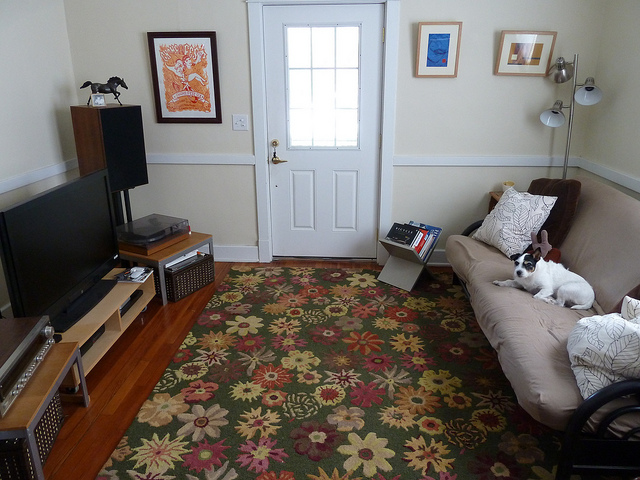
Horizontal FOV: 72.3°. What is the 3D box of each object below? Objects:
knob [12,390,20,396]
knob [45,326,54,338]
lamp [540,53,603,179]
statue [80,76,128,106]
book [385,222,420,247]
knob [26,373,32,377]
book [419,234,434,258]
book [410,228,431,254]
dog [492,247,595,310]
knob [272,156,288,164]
[{"bbox_3d":[-1.512,0.758,2.178,0.024,0.008,0.018,-1,3,9],"label":"knob"},{"bbox_3d":[-1.528,0.526,2.486,0.033,0.043,0.043,2,29,-9],"label":"knob"},{"bbox_3d":[2.184,-1.073,3.873,0.459,1.034,0.430,14,27,26],"label":"lamp"},{"bbox_3d":[-1.896,-1.310,3.844,0.329,0.206,0.297,-10,26,-26],"label":"statue"},{"bbox_3d":[0.741,-0.054,3.975,0.275,0.191,0.064,20,-14,42],"label":"book"},{"bbox_3d":[-1.511,0.701,2.278,0.018,0.005,0.018,5,13,-1],"label":"knob"},{"bbox_3d":[0.952,0.045,3.936,0.041,0.227,0.040,33,-4,-6],"label":"book"},{"bbox_3d":[0.903,0.001,3.919,0.052,0.216,0.155,31,-13,-11],"label":"book"},{"bbox_3d":[1.581,0.282,3.015,0.576,0.279,0.413,16,6,0],"label":"dog"},{"bbox_3d":[-0.403,-0.759,4.220,0.106,0.052,0.054,3,16,-5],"label":"knob"}]
